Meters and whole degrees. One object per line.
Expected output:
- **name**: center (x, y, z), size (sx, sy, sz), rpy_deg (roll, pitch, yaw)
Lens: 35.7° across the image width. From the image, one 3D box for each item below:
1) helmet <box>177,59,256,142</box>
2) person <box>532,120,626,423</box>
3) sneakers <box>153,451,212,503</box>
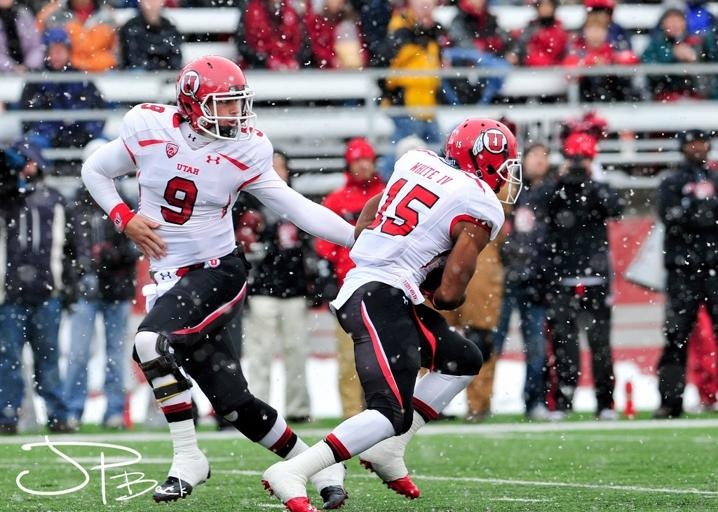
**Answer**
- **helmet**: center (-1.014, -1.163, 7.991), size (0.481, 0.491, 0.577), rpy_deg (-17, 29, -42)
- **person**: center (2.371, 0.208, 12.022), size (0.874, 3.026, 0.435), rpy_deg (1, 5, 10)
- **sneakers**: center (-1.230, 1.530, 7.716), size (0.178, 0.239, 0.493), rpy_deg (-14, 0, 43)
